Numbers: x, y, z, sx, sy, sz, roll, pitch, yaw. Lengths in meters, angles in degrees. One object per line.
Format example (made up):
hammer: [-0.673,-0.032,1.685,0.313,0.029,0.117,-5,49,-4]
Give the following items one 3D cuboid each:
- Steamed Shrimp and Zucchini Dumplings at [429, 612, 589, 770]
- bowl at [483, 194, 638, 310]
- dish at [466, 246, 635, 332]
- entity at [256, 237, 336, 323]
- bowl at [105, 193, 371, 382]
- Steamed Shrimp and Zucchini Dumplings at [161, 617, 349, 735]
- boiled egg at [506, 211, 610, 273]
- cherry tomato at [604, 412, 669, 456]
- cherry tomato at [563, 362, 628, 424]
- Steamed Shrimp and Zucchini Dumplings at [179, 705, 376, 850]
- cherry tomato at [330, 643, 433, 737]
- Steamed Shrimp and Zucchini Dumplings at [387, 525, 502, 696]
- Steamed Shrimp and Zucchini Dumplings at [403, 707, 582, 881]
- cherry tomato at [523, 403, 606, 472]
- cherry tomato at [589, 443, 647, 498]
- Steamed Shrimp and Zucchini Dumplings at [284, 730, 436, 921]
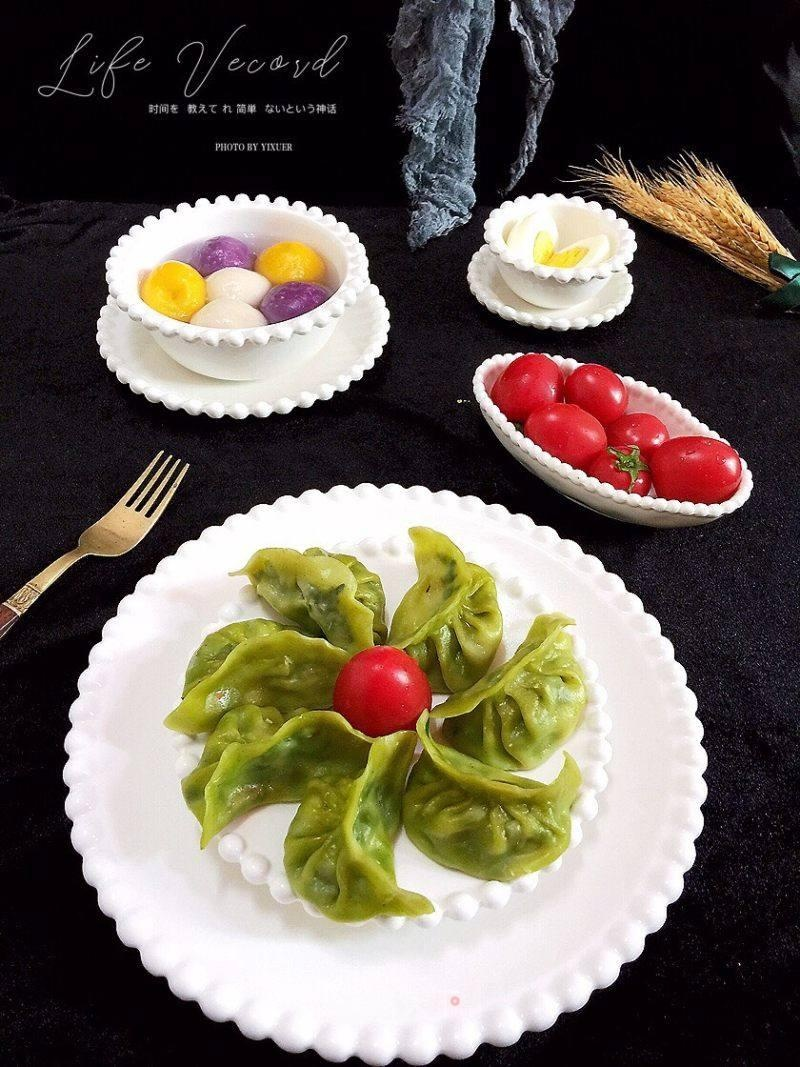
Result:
Steamed Shrimp and Zucchini Dumplings: [0.108,0.121,0.887,0.107,0.062,0.167,16,44,28]
bowl: [0.204,-0.333,1.367,0.170,0.080,0.162,3,55,-5]
dish: [0.197,-0.297,1.363,0.144,0.031,0.132,-14,50,-17]
entity: [-0.127,-0.291,1.213,0.086,0.052,0.120,-1,52,0]
bowl: [-0.194,-0.300,1.217,0.283,0.103,0.258,2,49,-3]
Steamed Shrimp and Zucchini Dumplings: [-0.112,0.117,0.850,0.121,0.040,0.098,-9,20,-3]
boiled egg: [0.183,-0.353,1.310,0.112,0.062,0.099,27,33,13]
cherry tomato: [0.253,-0.106,1.140,0.059,0.050,0.050,10,50,-1]
cherry tomato: [0.210,-0.149,1.157,0.050,0.054,0.057,-26,41,14]
Steamed Shrimp and Zucchini Dumplings: [-0.094,0.176,0.825,0.142,0.046,0.083,-36,96,-4]
cherry tomato: [-0.014,0.123,0.809,0.076,0.067,0.066,-13,95,7]
Steamed Shrimp and Zucchini Dumplings: [0.041,0.068,0.959,0.116,0.034,0.135,-6,65,1]
Steamed Shrimp and Zucchini Dumplings: [0.062,0.204,0.821,0.141,0.058,0.116,20,43,23]
cherry tomato: [0.174,-0.094,1.152,0.079,0.072,0.061,36,97,8]
cherry tomato: [0.220,-0.061,1.081,0.040,0.039,0.038,-23,71,-23]
Steamed Shrimp and Zucchini Dumplings: [-0.034,0.233,0.805,0.109,0.050,0.136,15,54,8]
